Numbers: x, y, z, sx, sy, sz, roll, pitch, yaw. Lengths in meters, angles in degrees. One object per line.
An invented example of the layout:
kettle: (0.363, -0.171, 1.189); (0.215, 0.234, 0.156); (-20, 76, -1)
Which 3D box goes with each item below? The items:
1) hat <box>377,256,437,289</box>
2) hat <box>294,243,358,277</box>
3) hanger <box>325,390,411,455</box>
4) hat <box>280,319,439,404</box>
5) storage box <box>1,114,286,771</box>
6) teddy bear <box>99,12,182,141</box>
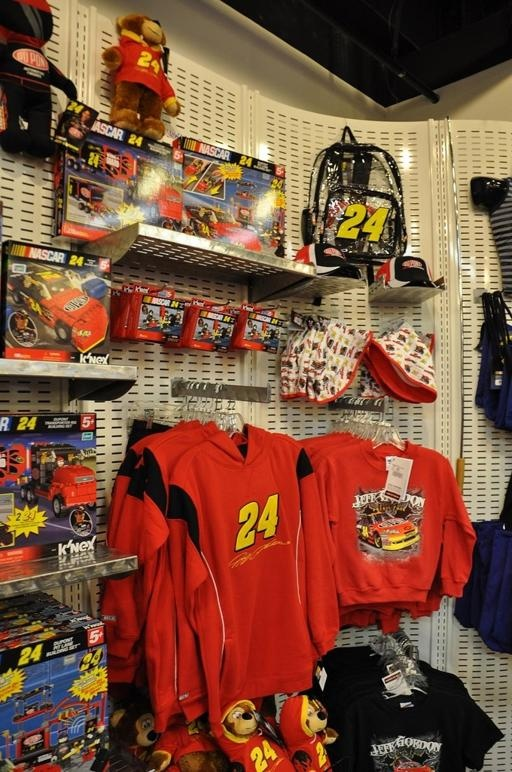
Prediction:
hat: (0.598, -0.452, 2.538); (0.126, 0.094, 0.179); (0, 0, -10)
hat: (0.263, -0.452, 2.282); (0.199, 0.121, 0.136); (17, 8, 14)
hanger: (0.435, 0.126, 2.516); (0.130, 0.186, 0.428); (-2, 9, -21)
hat: (0.413, -0.091, 2.483); (0.500, 0.388, 0.156); (5, -18, -7)
storage box: (-0.322, -0.022, 1.853); (0.390, 1.542, 1.179); (3, 3, 34)
teddy bear: (-0.360, -0.984, 1.974); (0.280, 0.417, 0.108); (9, -13, -34)
